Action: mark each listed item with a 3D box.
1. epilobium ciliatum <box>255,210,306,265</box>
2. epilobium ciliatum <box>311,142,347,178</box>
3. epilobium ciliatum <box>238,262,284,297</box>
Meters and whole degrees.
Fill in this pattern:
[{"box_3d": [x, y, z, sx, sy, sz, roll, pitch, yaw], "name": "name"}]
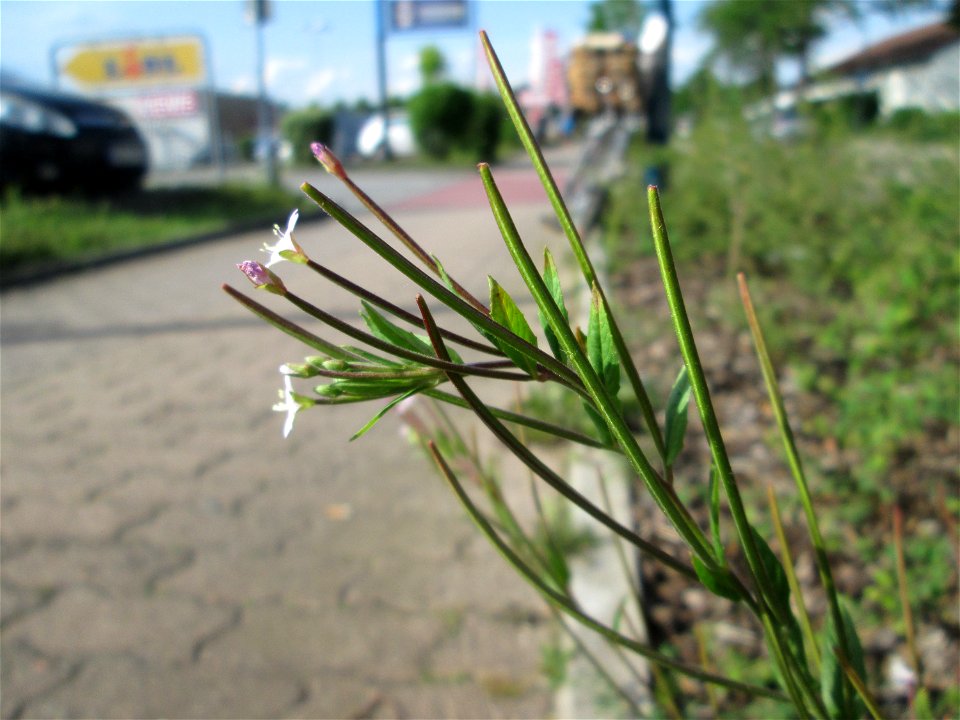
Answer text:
[{"box_3d": [-0.351, -0.212, 1.447, 0.042, 0.098, 0.095, 25, -18, 10], "name": "epilobium ciliatum"}, {"box_3d": [-0.257, -0.337, 1.430, 0.057, 0.065, 0.039, -6, 15, 3], "name": "epilobium ciliatum"}, {"box_3d": [-0.360, -0.137, 1.399, 0.076, 0.051, 0.032, 35, -21, -23], "name": "epilobium ciliatum"}]
